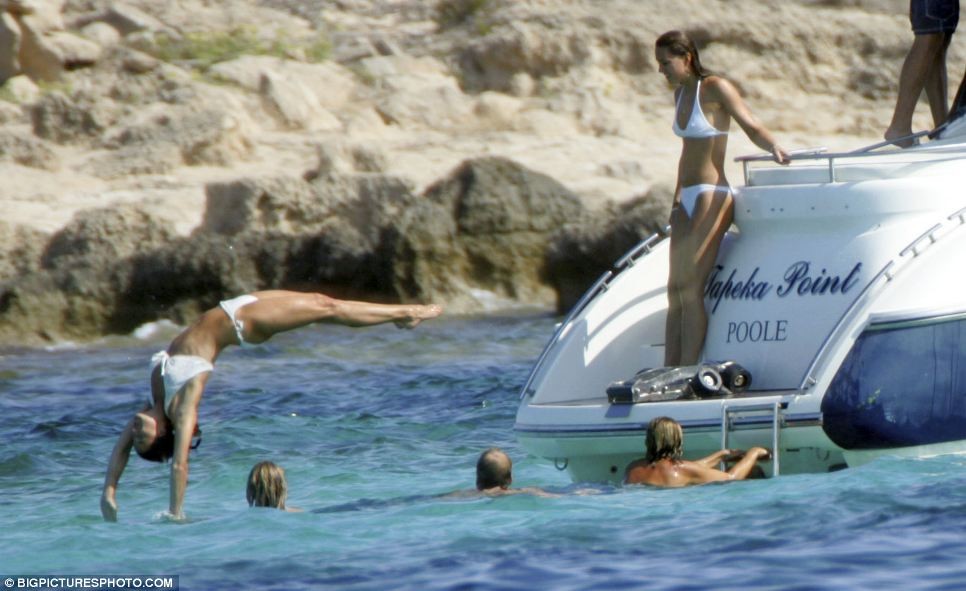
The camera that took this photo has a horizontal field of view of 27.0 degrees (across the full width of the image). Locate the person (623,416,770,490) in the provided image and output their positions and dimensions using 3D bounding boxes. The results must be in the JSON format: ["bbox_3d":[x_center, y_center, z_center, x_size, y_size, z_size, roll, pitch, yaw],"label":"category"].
[{"bbox_3d":[2.662,2.030,25.767,1.399,0.520,0.998,-3,4,-29],"label":"person"}]
